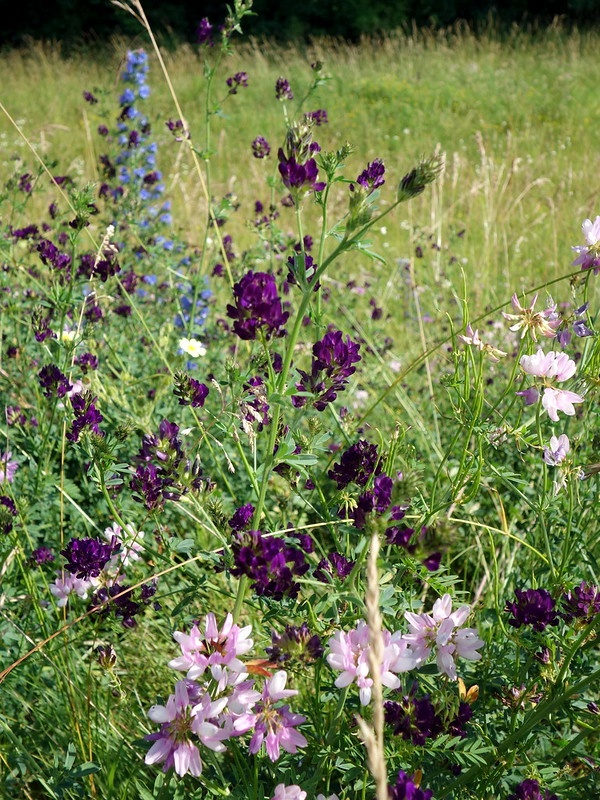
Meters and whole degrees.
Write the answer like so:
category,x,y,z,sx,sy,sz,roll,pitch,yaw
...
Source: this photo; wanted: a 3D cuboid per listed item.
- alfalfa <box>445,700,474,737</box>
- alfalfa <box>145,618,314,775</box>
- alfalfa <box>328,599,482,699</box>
category,x,y,z,sx,sy,sz,roll,pitch,yaw
alfalfa,0.362,0.732,2.291,0.035,0.092,0.091,12,37,28
alfalfa,-0.166,0.628,2.105,0.310,0.228,0.351,10,66,-9
alfalfa,0.214,0.532,2.152,0.269,0.154,0.225,3,72,-16
